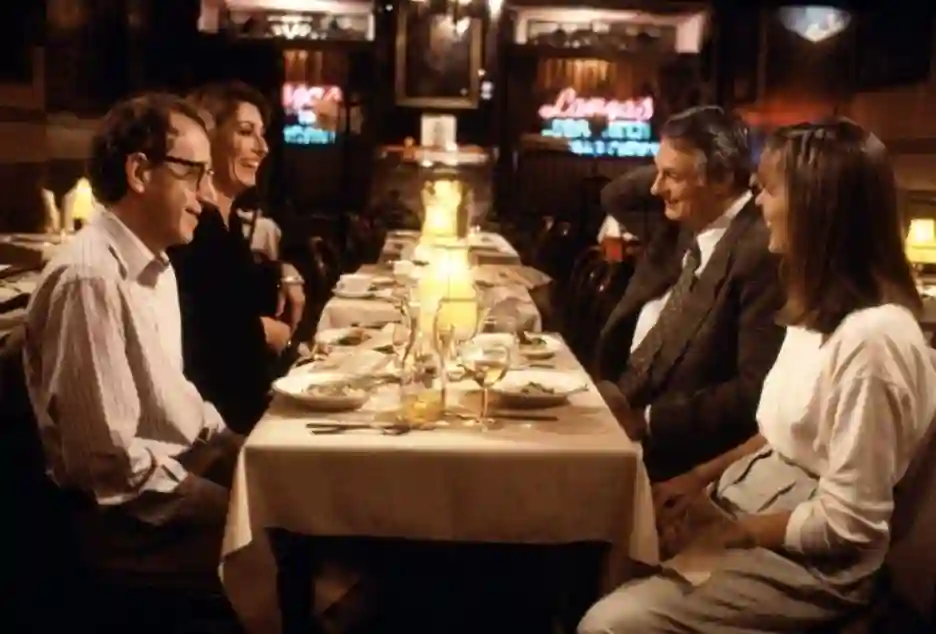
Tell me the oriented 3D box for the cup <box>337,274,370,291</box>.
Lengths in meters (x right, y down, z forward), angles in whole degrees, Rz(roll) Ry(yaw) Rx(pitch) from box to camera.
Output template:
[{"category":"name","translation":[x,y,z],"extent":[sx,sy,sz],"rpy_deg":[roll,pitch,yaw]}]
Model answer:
[{"category":"cup","translation":[-0.582,-0.193,3.938],"extent":[0.122,0.057,0.101],"rpy_deg":[-2,4,10]}]

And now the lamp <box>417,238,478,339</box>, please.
[{"category":"lamp","translation":[-0.069,-0.097,2.524],"extent":[0.190,0.295,0.331],"rpy_deg":[-1,11,-4]}]

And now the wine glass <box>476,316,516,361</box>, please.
[{"category":"wine glass","translation":[0.083,0.053,2.188],"extent":[0.135,0.133,0.132],"rpy_deg":[1,-3,-1]}]
